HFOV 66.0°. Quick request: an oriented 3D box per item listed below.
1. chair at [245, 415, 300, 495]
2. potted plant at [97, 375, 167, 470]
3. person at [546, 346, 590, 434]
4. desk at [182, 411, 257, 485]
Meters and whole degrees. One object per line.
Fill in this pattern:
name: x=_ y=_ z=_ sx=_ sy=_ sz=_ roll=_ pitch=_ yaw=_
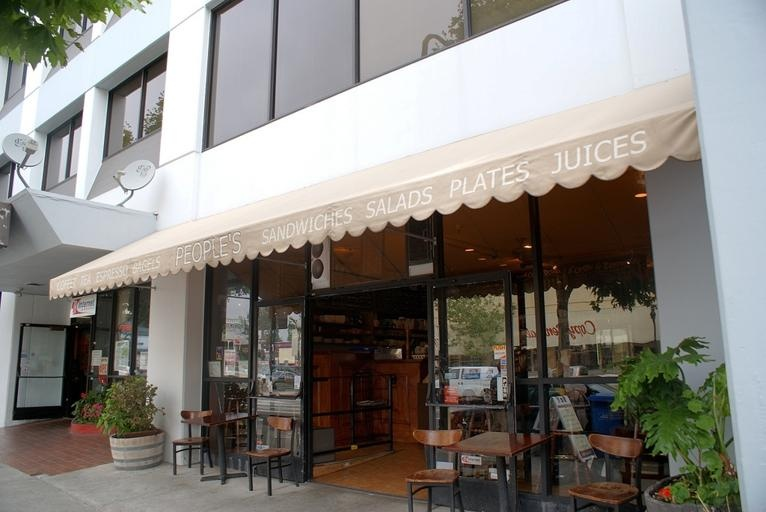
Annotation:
chair: x=-1.854 y=3.288 z=9.836 sx=0.678 sy=1.113 sz=0.680 roll=-9 pitch=-11 yaw=38
potted plant: x=-4.803 y=3.197 z=11.427 sx=1.138 sy=1.738 sz=0.607 roll=3 pitch=-13 yaw=-23
person: x=2.467 y=1.791 z=7.944 sx=0.510 sy=1.040 sz=0.268 roll=-4 pitch=-6 yaw=28
desk: x=-3.093 y=3.256 z=10.569 sx=1.231 sy=1.250 sz=1.263 roll=-8 pitch=-11 yaw=38
